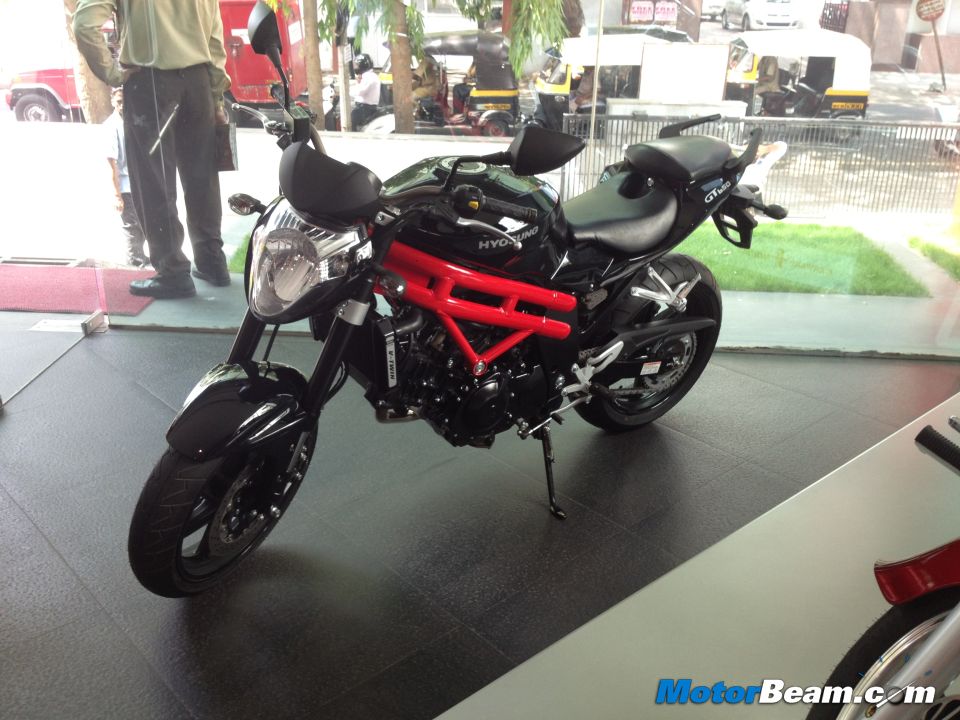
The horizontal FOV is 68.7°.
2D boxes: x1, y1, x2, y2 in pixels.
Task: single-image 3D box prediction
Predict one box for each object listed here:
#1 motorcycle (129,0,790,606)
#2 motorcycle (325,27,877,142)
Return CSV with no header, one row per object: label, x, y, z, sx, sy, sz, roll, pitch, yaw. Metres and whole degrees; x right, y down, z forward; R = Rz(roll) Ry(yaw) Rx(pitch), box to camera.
motorcycle,-0.194,-0.472,2.656,2.580,1.618,1.091,-23,41,-31
motorcycle,0.531,-1.382,3.425,2.443,0.746,0.504,4,35,3
